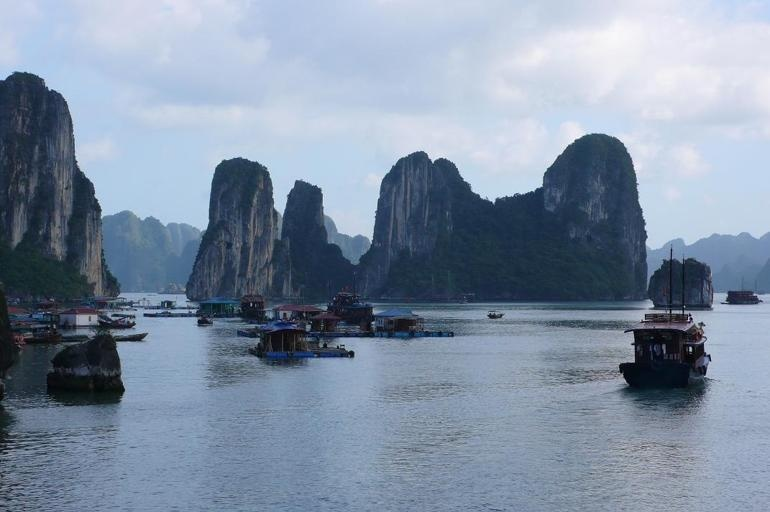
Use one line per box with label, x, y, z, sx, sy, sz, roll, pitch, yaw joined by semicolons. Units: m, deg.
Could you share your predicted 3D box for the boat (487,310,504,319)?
boat;26.136;14.239;307.041;1.837;2.284;6.222;-1;-6;-5
